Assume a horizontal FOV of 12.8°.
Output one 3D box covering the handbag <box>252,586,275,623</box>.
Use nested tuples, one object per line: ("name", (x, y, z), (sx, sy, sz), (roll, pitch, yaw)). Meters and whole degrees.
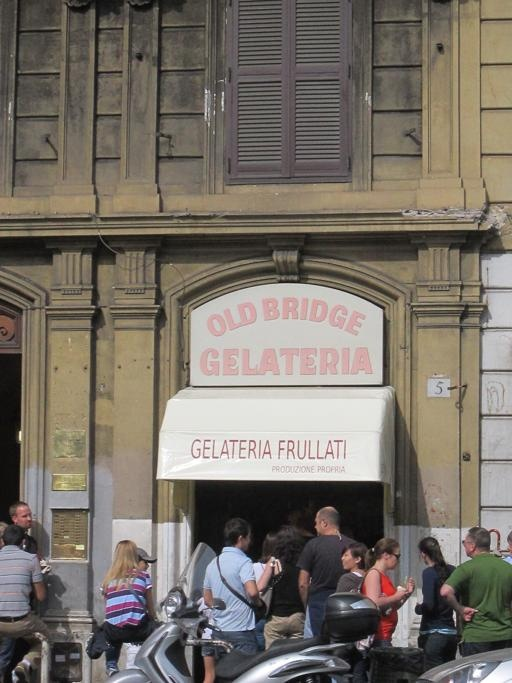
("handbag", (-0.007, 2.382, 20.452), (0.173, 0.279, 0.267), (2, 11, 2))

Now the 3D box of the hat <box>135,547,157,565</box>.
("hat", (-1.032, 1.977, 21.044), (0.248, 0.108, 0.167), (26, 0, -1))

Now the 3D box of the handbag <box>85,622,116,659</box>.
("handbag", (-1.383, 2.759, 20.680), (0.129, 0.351, 0.243), (19, 10, -43))
